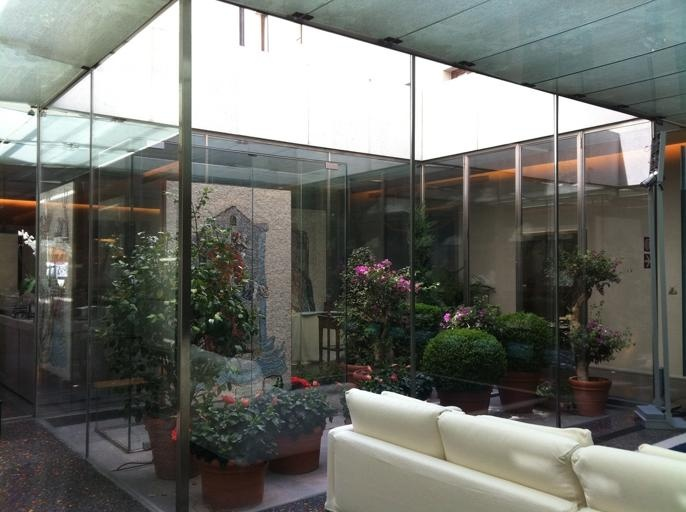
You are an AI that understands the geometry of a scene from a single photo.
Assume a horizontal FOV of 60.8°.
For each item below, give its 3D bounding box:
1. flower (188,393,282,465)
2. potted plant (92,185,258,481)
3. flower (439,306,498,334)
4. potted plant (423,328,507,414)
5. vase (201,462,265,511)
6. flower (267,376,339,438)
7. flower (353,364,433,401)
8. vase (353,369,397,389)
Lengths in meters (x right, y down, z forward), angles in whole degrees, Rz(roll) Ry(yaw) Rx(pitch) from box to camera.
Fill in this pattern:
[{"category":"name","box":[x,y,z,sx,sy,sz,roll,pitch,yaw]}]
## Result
[{"category":"flower","box":[-0.747,1.214,4.161,0.532,0.507,0.271,8,-28,-29]},{"category":"potted plant","box":[-1.276,0.545,4.337,1.193,1.877,0.507,-2,0,27]},{"category":"flower","box":[1.164,0.561,5.293,0.379,0.176,0.278,3,0,-5]},{"category":"potted plant","box":[1.057,1.090,5.483,0.795,0.733,0.743,-1,-11,-26]},{"category":"vase","box":[-0.768,1.618,4.111,0.377,0.222,0.378,-5,-9,33]},{"category":"flower","box":[-0.368,1.151,4.502,0.417,0.221,0.403,1,-3,-34]},{"category":"flower","box":[0.416,1.025,4.963,0.513,0.223,0.359,6,-4,-22]},{"category":"vase","box":[0.246,1.009,4.819,0.222,0.093,0.256,3,-2,-36]}]
